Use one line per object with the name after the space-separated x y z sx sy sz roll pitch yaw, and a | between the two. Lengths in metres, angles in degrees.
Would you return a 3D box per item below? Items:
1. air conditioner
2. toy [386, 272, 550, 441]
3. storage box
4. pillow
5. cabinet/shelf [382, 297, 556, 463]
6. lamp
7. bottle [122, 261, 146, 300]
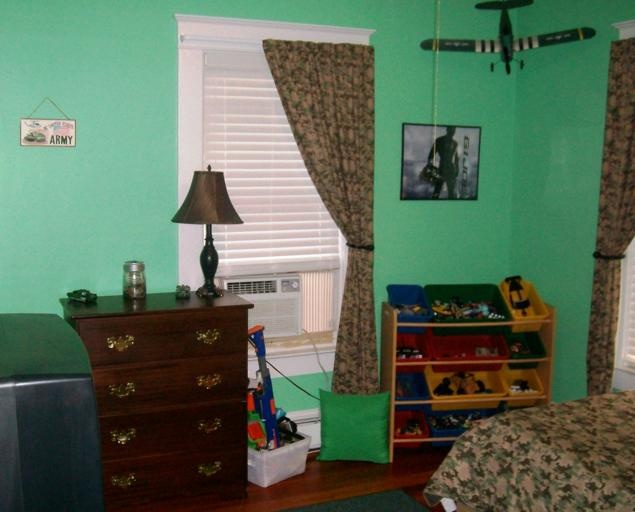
-0.396 0.311 3.758 0.440 0.388 0.168 -2 4 -20 | air conditioner
1.027 0.726 3.928 1.079 1.054 0.393 -1 6 -10 | toy
-0.249 1.287 3.649 0.345 0.187 0.228 -2 1 -38 | storage box
0.250 1.146 3.819 0.460 0.444 0.172 2 -1 -3 | pillow
0.990 0.818 3.786 1.038 0.895 0.410 -1 3 -10 | cabinet/shelf
-0.692 -0.146 3.435 0.349 0.776 0.411 -8 8 -40 | lamp
-1.069 0.124 3.342 0.145 0.248 0.147 5 18 -2 | bottle
